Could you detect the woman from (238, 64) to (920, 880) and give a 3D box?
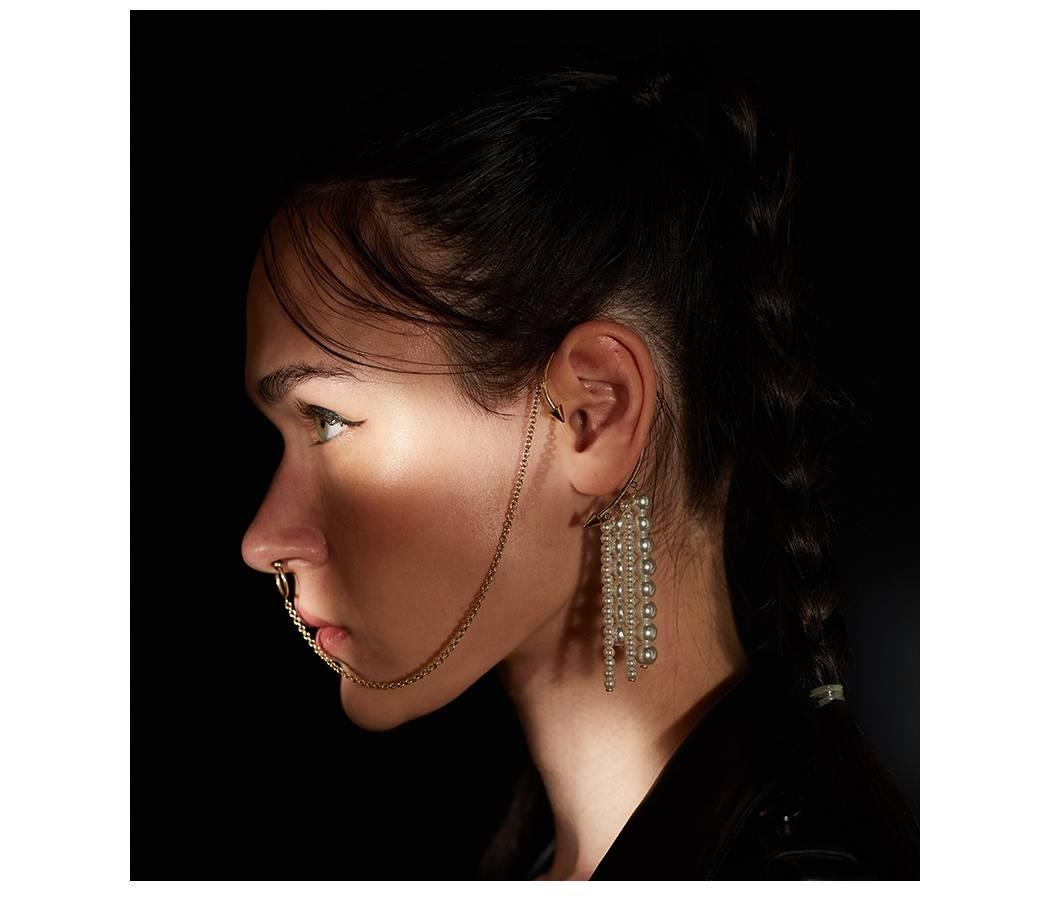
[{"bbox_3d":[0.038,0.163,2.603,1.117,1.718,1.123,1,-2,-21],"label":"woman"}]

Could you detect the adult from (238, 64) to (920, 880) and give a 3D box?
[{"bbox_3d":[0.091,0.157,2.561,1.113,1.713,1.099,2,-3,-21],"label":"adult"}]

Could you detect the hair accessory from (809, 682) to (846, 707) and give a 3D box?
[{"bbox_3d":[0.546,0.445,2.326,0.047,0.041,0.037,-14,-19,40],"label":"hair accessory"}]
